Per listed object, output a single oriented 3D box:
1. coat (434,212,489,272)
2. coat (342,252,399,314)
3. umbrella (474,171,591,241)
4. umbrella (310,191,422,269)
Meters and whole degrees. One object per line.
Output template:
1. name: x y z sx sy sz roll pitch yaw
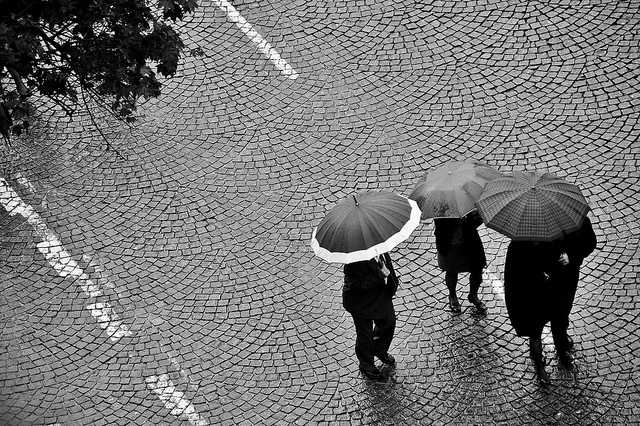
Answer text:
1. coat: 2.284 0.443 12.205 0.760 0.548 0.977 8 80 58
2. coat: 0.721 0.956 11.574 0.983 0.581 1.002 0 85 6
3. umbrella: 2.996 -0.126 11.293 1.242 1.821 1.033 1 87 4
4. umbrella: 0.654 0.189 11.349 1.234 1.003 1.191 -22 43 11
